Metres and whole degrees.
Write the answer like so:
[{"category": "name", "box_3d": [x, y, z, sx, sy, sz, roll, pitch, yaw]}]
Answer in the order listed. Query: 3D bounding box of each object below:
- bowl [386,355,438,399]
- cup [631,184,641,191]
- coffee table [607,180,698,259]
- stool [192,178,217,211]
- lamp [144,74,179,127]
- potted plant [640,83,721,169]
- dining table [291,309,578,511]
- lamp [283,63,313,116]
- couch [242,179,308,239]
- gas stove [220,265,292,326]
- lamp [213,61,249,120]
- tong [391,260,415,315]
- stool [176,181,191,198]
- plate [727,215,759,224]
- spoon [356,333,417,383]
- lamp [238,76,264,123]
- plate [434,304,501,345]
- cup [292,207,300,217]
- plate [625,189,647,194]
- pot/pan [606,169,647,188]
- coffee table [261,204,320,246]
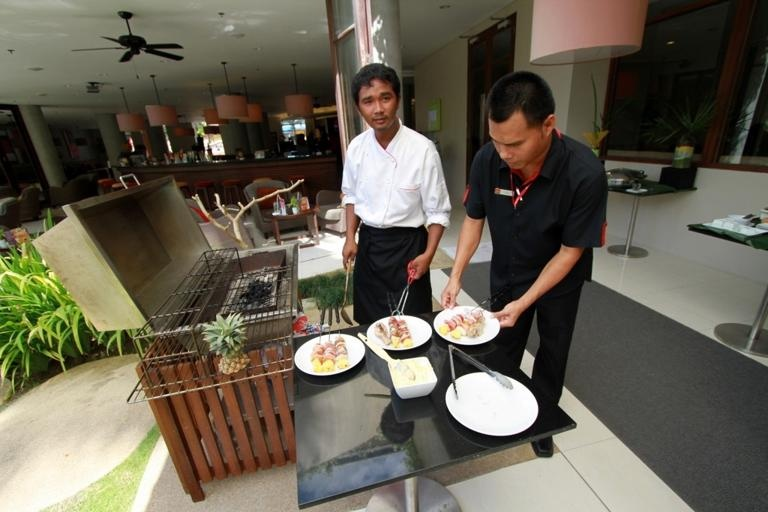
[{"category": "bowl", "box_3d": [0.176, 0.695, 2.425, 0.272, 0.116, 0.291, -7, 23, 3]}, {"category": "cup", "box_3d": [2.942, -0.798, 4.975, 0.087, 0.083, 0.099, -12, 23, -1]}, {"category": "coffee table", "box_3d": [3.080, -0.460, 5.430, 0.966, 0.940, 0.964, -4, 24, -9]}, {"category": "stool", "box_3d": [-3.846, -1.337, 9.342, 0.414, 0.685, 0.653, -15, 24, -21]}, {"category": "lamp", "box_3d": [-4.728, -3.284, 8.995, 0.624, 1.055, 0.629, -4, 10, 21]}, {"category": "potted plant", "box_3d": [3.584, -1.425, 5.042, 0.715, 0.713, 0.658, 7, 10, 34]}, {"category": "dining table", "box_3d": [0.118, 0.904, 2.487, 1.291, 0.453, 0.646, -9, 23, -9]}, {"category": "lamp", "box_3d": [-1.983, -3.721, 9.658, 0.512, 1.084, 2.738, -10, 23, -9]}, {"category": "couch", "box_3d": [-1.850, -0.834, 7.395, 0.956, 1.055, 1.045, -12, 12, 1]}, {"category": "gas stove", "box_3d": [-0.889, 0.281, 3.039, 0.394, 0.096, 0.395, -4, 47, -5]}, {"category": "lamp", "box_3d": [-3.017, -3.293, 8.343, 0.540, 1.138, 0.543, -2, 9, 45]}, {"category": "tong", "box_3d": [0.171, 0.243, 3.157, 0.131, 0.398, 0.057, 24, 10, 36]}, {"category": "stool", "box_3d": [-4.324, -1.467, 9.309, 0.209, 0.348, 0.434, -13, 23, -15]}, {"category": "plate", "box_3d": [3.213, -0.329, 3.799, 0.156, 0.052, 0.151, -4, 17, 19]}, {"category": "spoon", "box_3d": [-0.020, 0.573, 2.671, 0.124, 0.115, 0.610, -28, 39, -21]}, {"category": "lamp", "box_3d": [-3.011, -3.513, 9.538, 0.552, 0.958, 0.548, -15, 14, -21]}, {"category": "plate", "box_3d": [0.535, 0.464, 2.731, 0.362, 0.083, 0.362, -15, 14, -28]}, {"category": "cup", "box_3d": [-1.338, -0.680, 6.525, 0.136, 0.150, 0.142, -1, 18, 0]}, {"category": "plate", "box_3d": [2.873, -0.740, 4.868, 0.110, 0.027, 0.101, -10, 19, -15]}, {"category": "pot/pan", "box_3d": [3.007, -0.999, 5.314, 0.352, 0.243, 0.840, 6, 25, 26]}, {"category": "coffee table", "box_3d": [-1.444, -0.514, 6.794, 0.874, 0.559, 1.209, -12, 23, -15]}]
